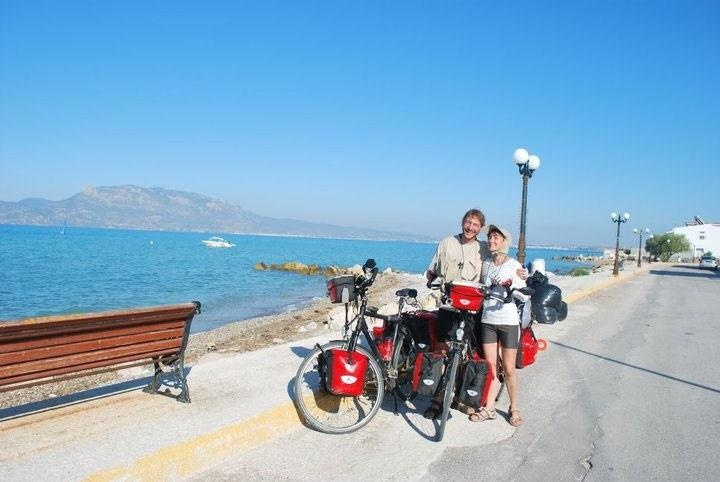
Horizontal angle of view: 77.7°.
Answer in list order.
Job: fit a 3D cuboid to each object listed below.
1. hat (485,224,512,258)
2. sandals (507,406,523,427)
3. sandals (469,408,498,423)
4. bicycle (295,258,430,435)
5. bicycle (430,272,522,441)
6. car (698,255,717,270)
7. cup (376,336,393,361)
[{"bbox_3d":[1.692,0.008,5.505,0.300,0.279,0.391,-10,-36,43],"label":"hat"},{"bbox_3d":[2.019,2.255,5.834,0.123,0.074,0.320,-3,-1,11],"label":"sandals"},{"bbox_3d":[1.623,2.262,5.908,0.354,0.112,0.152,0,0,-14],"label":"sandals"},{"bbox_3d":[-0.216,1.255,5.638,1.286,2.116,1.068,0,3,-9],"label":"bicycle"},{"bbox_3d":[1.476,1.397,5.665,1.191,1.909,0.941,1,3,-5],"label":"bicycle"},{"bbox_3d":[47.397,2.848,60.936,1.673,1.358,3.342,2,5,33],"label":"car"},{"bbox_3d":[0.310,1.341,5.706,0.310,0.256,0.168,-9,0,-28],"label":"cup"}]
